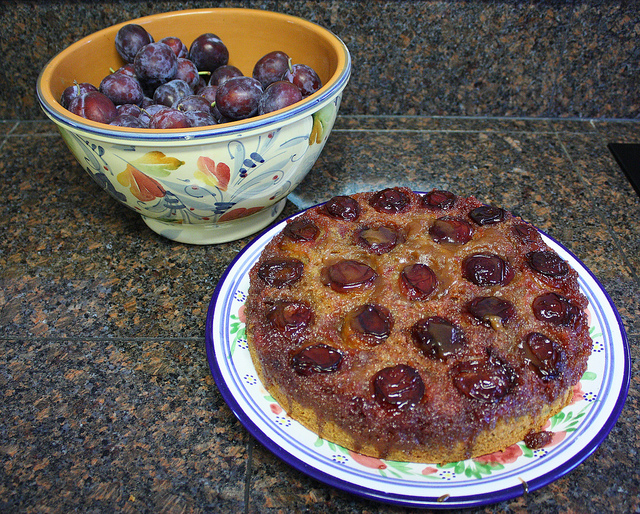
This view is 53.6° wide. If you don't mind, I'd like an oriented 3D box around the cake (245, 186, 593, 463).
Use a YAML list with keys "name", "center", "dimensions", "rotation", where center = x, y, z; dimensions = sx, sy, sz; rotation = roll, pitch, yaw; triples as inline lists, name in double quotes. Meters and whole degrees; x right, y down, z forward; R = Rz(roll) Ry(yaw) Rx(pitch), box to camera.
- name: "cake"
  center: [0.197, 0.072, 1.358]
  dimensions: [0.961, 0.385, 0.586]
  rotation: [-2, 33, -5]

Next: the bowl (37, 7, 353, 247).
- name: "bowl"
  center: [-0.360, -0.333, 1.603]
  dimensions: [1.006, 0.516, 0.568]
  rotation: [-13, 38, -23]

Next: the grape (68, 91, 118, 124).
- name: "grape"
  center: [-0.454, -0.299, 1.270]
  dimensions: [0.130, 0.057, 0.084]
  rotation: [-18, 32, -38]
